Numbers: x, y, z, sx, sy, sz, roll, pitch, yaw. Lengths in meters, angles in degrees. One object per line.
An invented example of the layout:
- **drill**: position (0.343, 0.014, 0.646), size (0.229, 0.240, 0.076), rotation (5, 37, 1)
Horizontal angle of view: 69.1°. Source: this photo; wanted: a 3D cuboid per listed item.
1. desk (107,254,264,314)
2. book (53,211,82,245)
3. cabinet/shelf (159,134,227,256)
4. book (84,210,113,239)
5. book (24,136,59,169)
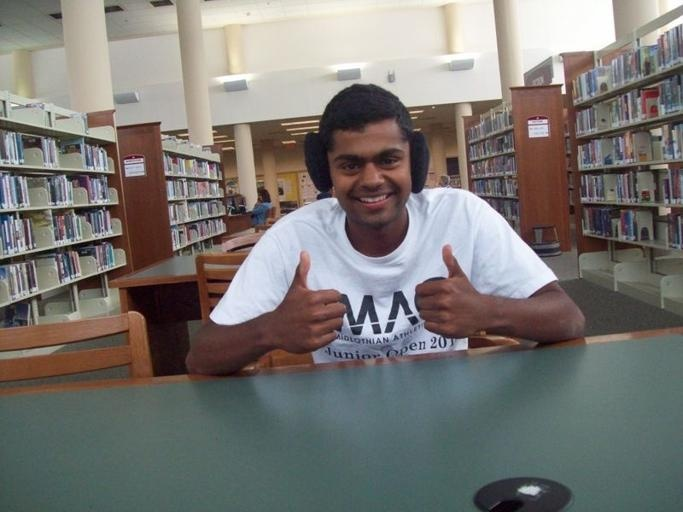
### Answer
- **desk**: position (-1.118, 0.228, 3.117), size (0.625, 0.377, 0.606), rotation (-3, 3, -6)
- **book**: position (-2.867, -0.290, 5.218), size (0.287, 0.388, 0.389), rotation (-2, 2, 2)
- **cabinet/shelf**: position (-2.592, -1.013, 8.647), size (0.489, 1.304, 2.555), rotation (-4, 6, 3)
- **book**: position (-2.804, -0.382, 5.739), size (0.285, 0.364, 0.380), rotation (-4, 7, -15)
- **book**: position (-3.016, -1.052, 4.955), size (0.288, 0.368, 0.495), rotation (-6, 5, -31)
